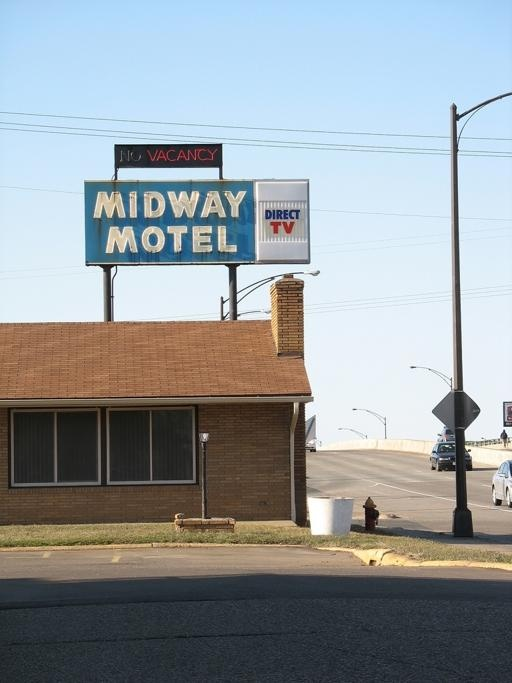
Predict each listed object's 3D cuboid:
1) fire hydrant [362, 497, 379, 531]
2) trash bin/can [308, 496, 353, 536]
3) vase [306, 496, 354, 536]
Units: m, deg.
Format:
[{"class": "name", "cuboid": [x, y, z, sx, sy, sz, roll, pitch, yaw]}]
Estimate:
[{"class": "fire hydrant", "cuboid": [2.095, 3.098, 19.840, 0.202, 0.635, 0.727, -2, -4, 6]}, {"class": "trash bin/can", "cuboid": [1.270, 2.947, 18.503, 0.626, 0.555, 0.617, -2, -8, 7]}, {"class": "vase", "cuboid": [1.267, 2.918, 18.435, 0.625, 0.559, 0.618, -2, -9, 7]}]
